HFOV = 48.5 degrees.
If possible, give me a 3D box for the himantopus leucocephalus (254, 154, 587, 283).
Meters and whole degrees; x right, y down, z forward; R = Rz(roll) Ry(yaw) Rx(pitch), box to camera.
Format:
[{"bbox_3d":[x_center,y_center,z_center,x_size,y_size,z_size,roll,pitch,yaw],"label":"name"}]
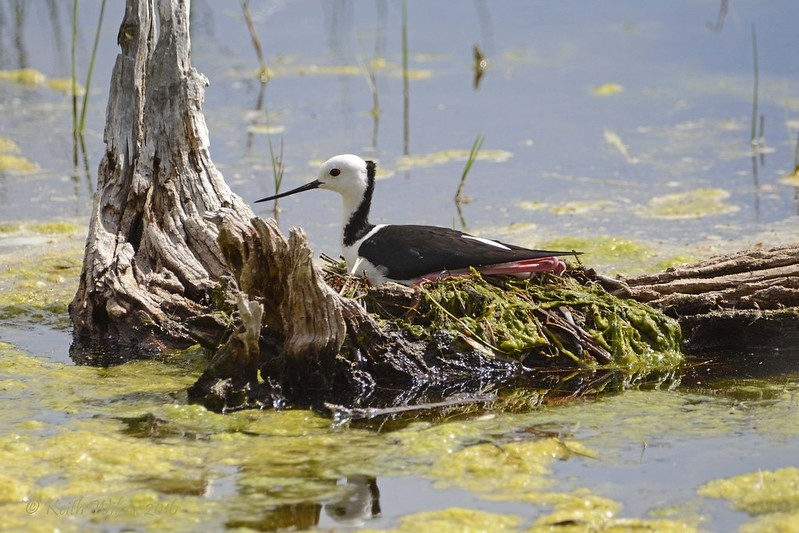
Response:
[{"bbox_3d":[0.163,-0.348,10.134,3.784,1.409,0.822,3,6,-13],"label":"himantopus leucocephalus"}]
